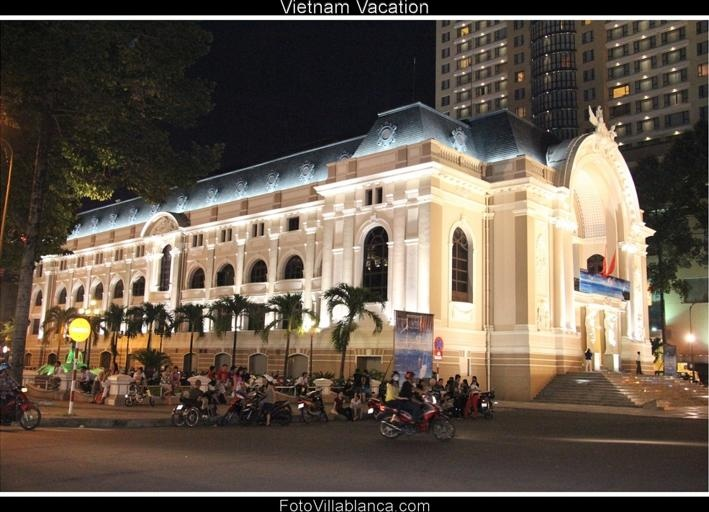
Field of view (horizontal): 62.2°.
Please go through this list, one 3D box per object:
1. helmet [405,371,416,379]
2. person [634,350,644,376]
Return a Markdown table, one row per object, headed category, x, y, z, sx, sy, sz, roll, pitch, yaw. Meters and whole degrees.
| category | x | y | z | sx | sy | sz | roll | pitch | yaw |
| --- | --- | --- | --- | --- | --- | --- | --- | --- | --- |
| helmet | 1.780 | 3.900 | 19.340 | 0.425 | 0.173 | 0.597 | -1 | -9 | -5 |
| person | 20.797 | 7.732 | 42.981 | 0.378 | 1.655 | 1.305 | -8 | -20 | 30 |
